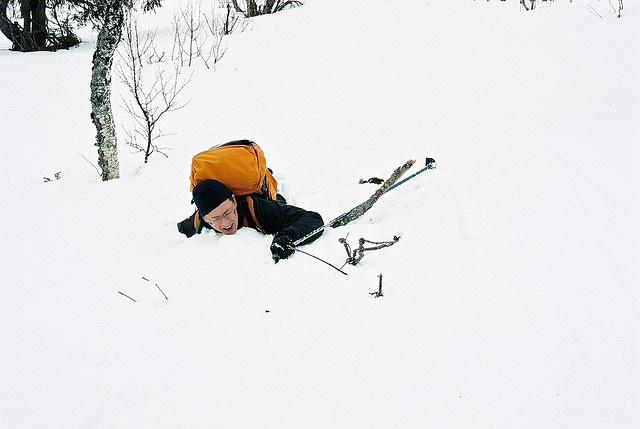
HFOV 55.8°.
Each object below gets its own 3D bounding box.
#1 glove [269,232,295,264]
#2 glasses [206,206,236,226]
[{"bbox_3d":[-0.439,0.320,7.146,0.266,0.390,0.371,-2,25,10],"label":"glove"},{"bbox_3d":[-1.191,0.037,7.454,0.236,0.115,0.314,-30,28,-13],"label":"glasses"}]
